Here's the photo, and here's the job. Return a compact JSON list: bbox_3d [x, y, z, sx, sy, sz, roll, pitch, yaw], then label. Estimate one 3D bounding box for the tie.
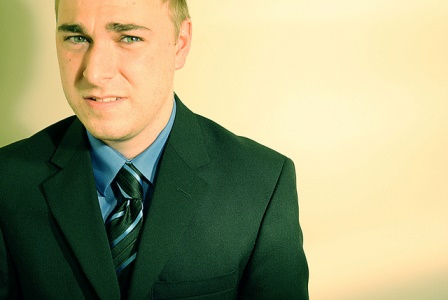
[{"bbox_3d":[-0.422,0.330,2.031,0.145,0.509,0.221,11,-37,-12],"label":"tie"}]
